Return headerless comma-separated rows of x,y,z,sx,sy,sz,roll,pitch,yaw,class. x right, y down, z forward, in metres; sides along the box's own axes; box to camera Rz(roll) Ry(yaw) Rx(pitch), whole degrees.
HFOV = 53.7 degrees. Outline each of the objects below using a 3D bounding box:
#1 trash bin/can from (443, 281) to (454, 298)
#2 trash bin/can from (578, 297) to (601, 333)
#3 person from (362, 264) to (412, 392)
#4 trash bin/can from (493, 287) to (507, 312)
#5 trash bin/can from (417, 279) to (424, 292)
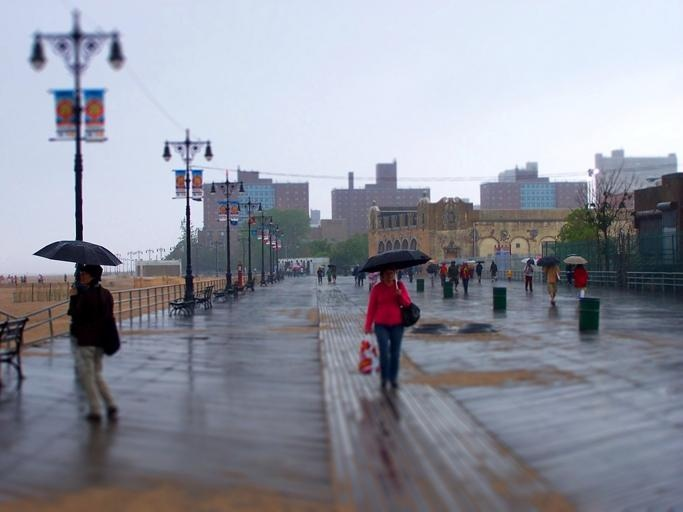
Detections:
5.400,1.731,33.874,0.588,1.125,0.652,0,-4,-4,trash bin/can
6.621,1.573,17.951,0.479,0.835,0.816,0,3,19,trash bin/can
0.805,1.199,11.396,0.745,1.950,0.782,0,3,2,person
5.873,1.587,24.908,0.451,0.732,1.361,0,3,10,trash bin/can
4.957,1.855,41.975,0.537,0.910,0.593,-1,-4,-5,trash bin/can
